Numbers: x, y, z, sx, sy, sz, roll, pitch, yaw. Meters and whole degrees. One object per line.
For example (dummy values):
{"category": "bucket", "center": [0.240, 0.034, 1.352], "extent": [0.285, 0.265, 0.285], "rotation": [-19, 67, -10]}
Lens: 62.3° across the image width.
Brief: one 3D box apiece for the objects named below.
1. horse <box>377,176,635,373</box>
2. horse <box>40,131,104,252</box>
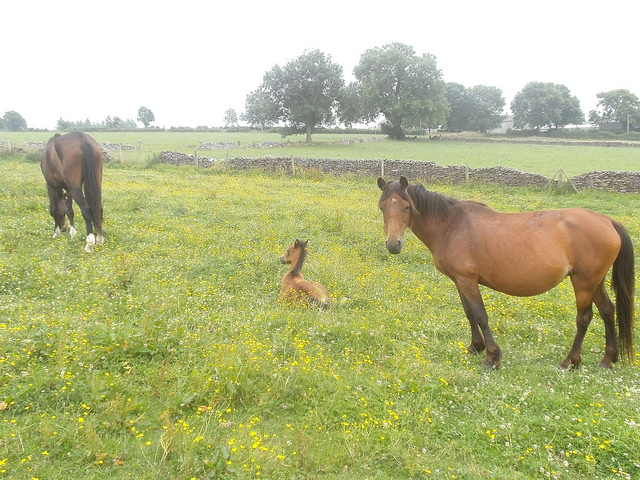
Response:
{"category": "horse", "center": [3.735, 0.572, 10.164], "extent": [4.539, 3.437, 1.201], "rotation": [3, 13, 10]}
{"category": "horse", "center": [-7.191, -1.791, 15.352], "extent": [1.752, 4.156, 1.871], "rotation": [-5, 16, -35]}
